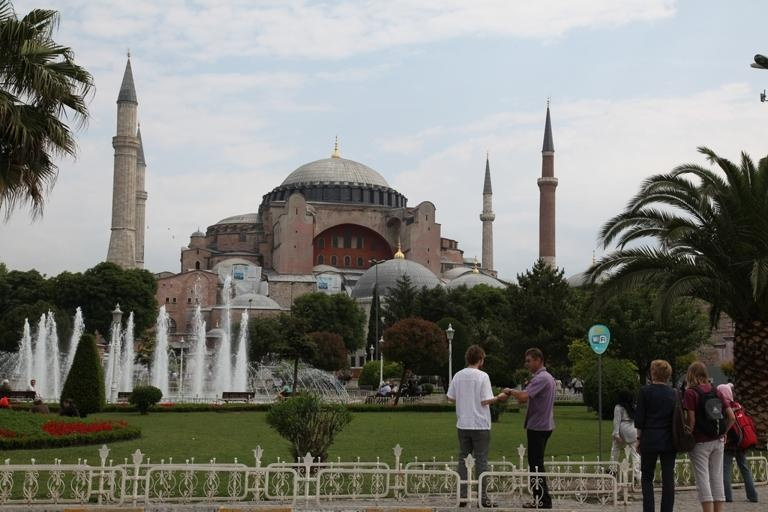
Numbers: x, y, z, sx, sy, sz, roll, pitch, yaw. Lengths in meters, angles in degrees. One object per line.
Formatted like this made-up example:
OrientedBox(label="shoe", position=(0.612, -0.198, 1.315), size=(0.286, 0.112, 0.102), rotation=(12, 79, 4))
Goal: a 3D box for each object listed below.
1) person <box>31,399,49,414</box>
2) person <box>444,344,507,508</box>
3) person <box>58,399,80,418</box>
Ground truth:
OrientedBox(label="person", position=(-9.285, 4.079, 39.754), size=(0.422, 0.528, 1.815), rotation=(2, -12, -13))
OrientedBox(label="person", position=(1.998, 3.795, 33.194), size=(0.993, 3.630, 0.867), rotation=(-2, -13, 4))
OrientedBox(label="person", position=(-8.486, 4.109, 39.833), size=(0.427, 0.585, 1.239), rotation=(2, -12, -13))
